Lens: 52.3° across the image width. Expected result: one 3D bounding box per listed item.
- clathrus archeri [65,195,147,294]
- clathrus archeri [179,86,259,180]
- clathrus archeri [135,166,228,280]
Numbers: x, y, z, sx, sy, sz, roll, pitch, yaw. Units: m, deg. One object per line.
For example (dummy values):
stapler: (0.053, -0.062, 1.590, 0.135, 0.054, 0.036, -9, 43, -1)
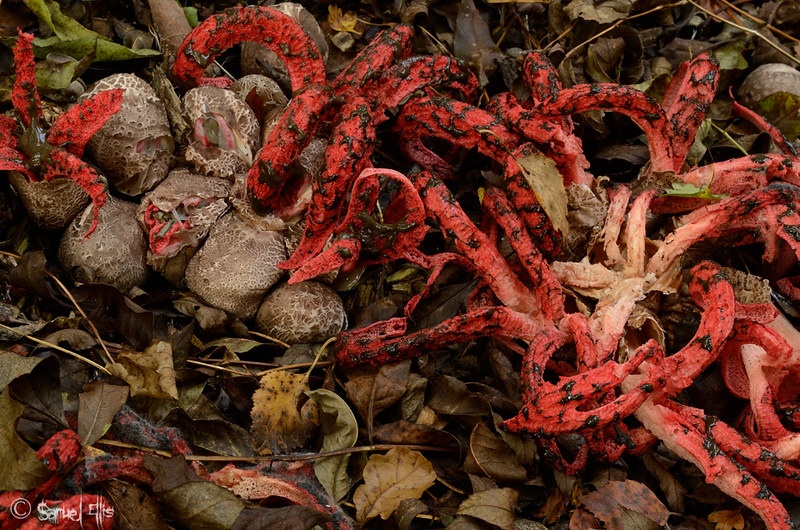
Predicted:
clathrus archeri: (-0.890, -0.064, 2.564, 0.298, 0.244, 0.224, -15, 2, -43)
clathrus archeri: (-0.562, -0.412, 2.615, 0.241, 0.278, 0.132, -24, 8, 0)
clathrus archeri: (-0.705, -0.135, 2.632, 0.240, 0.315, 0.145, 28, -2, -9)
